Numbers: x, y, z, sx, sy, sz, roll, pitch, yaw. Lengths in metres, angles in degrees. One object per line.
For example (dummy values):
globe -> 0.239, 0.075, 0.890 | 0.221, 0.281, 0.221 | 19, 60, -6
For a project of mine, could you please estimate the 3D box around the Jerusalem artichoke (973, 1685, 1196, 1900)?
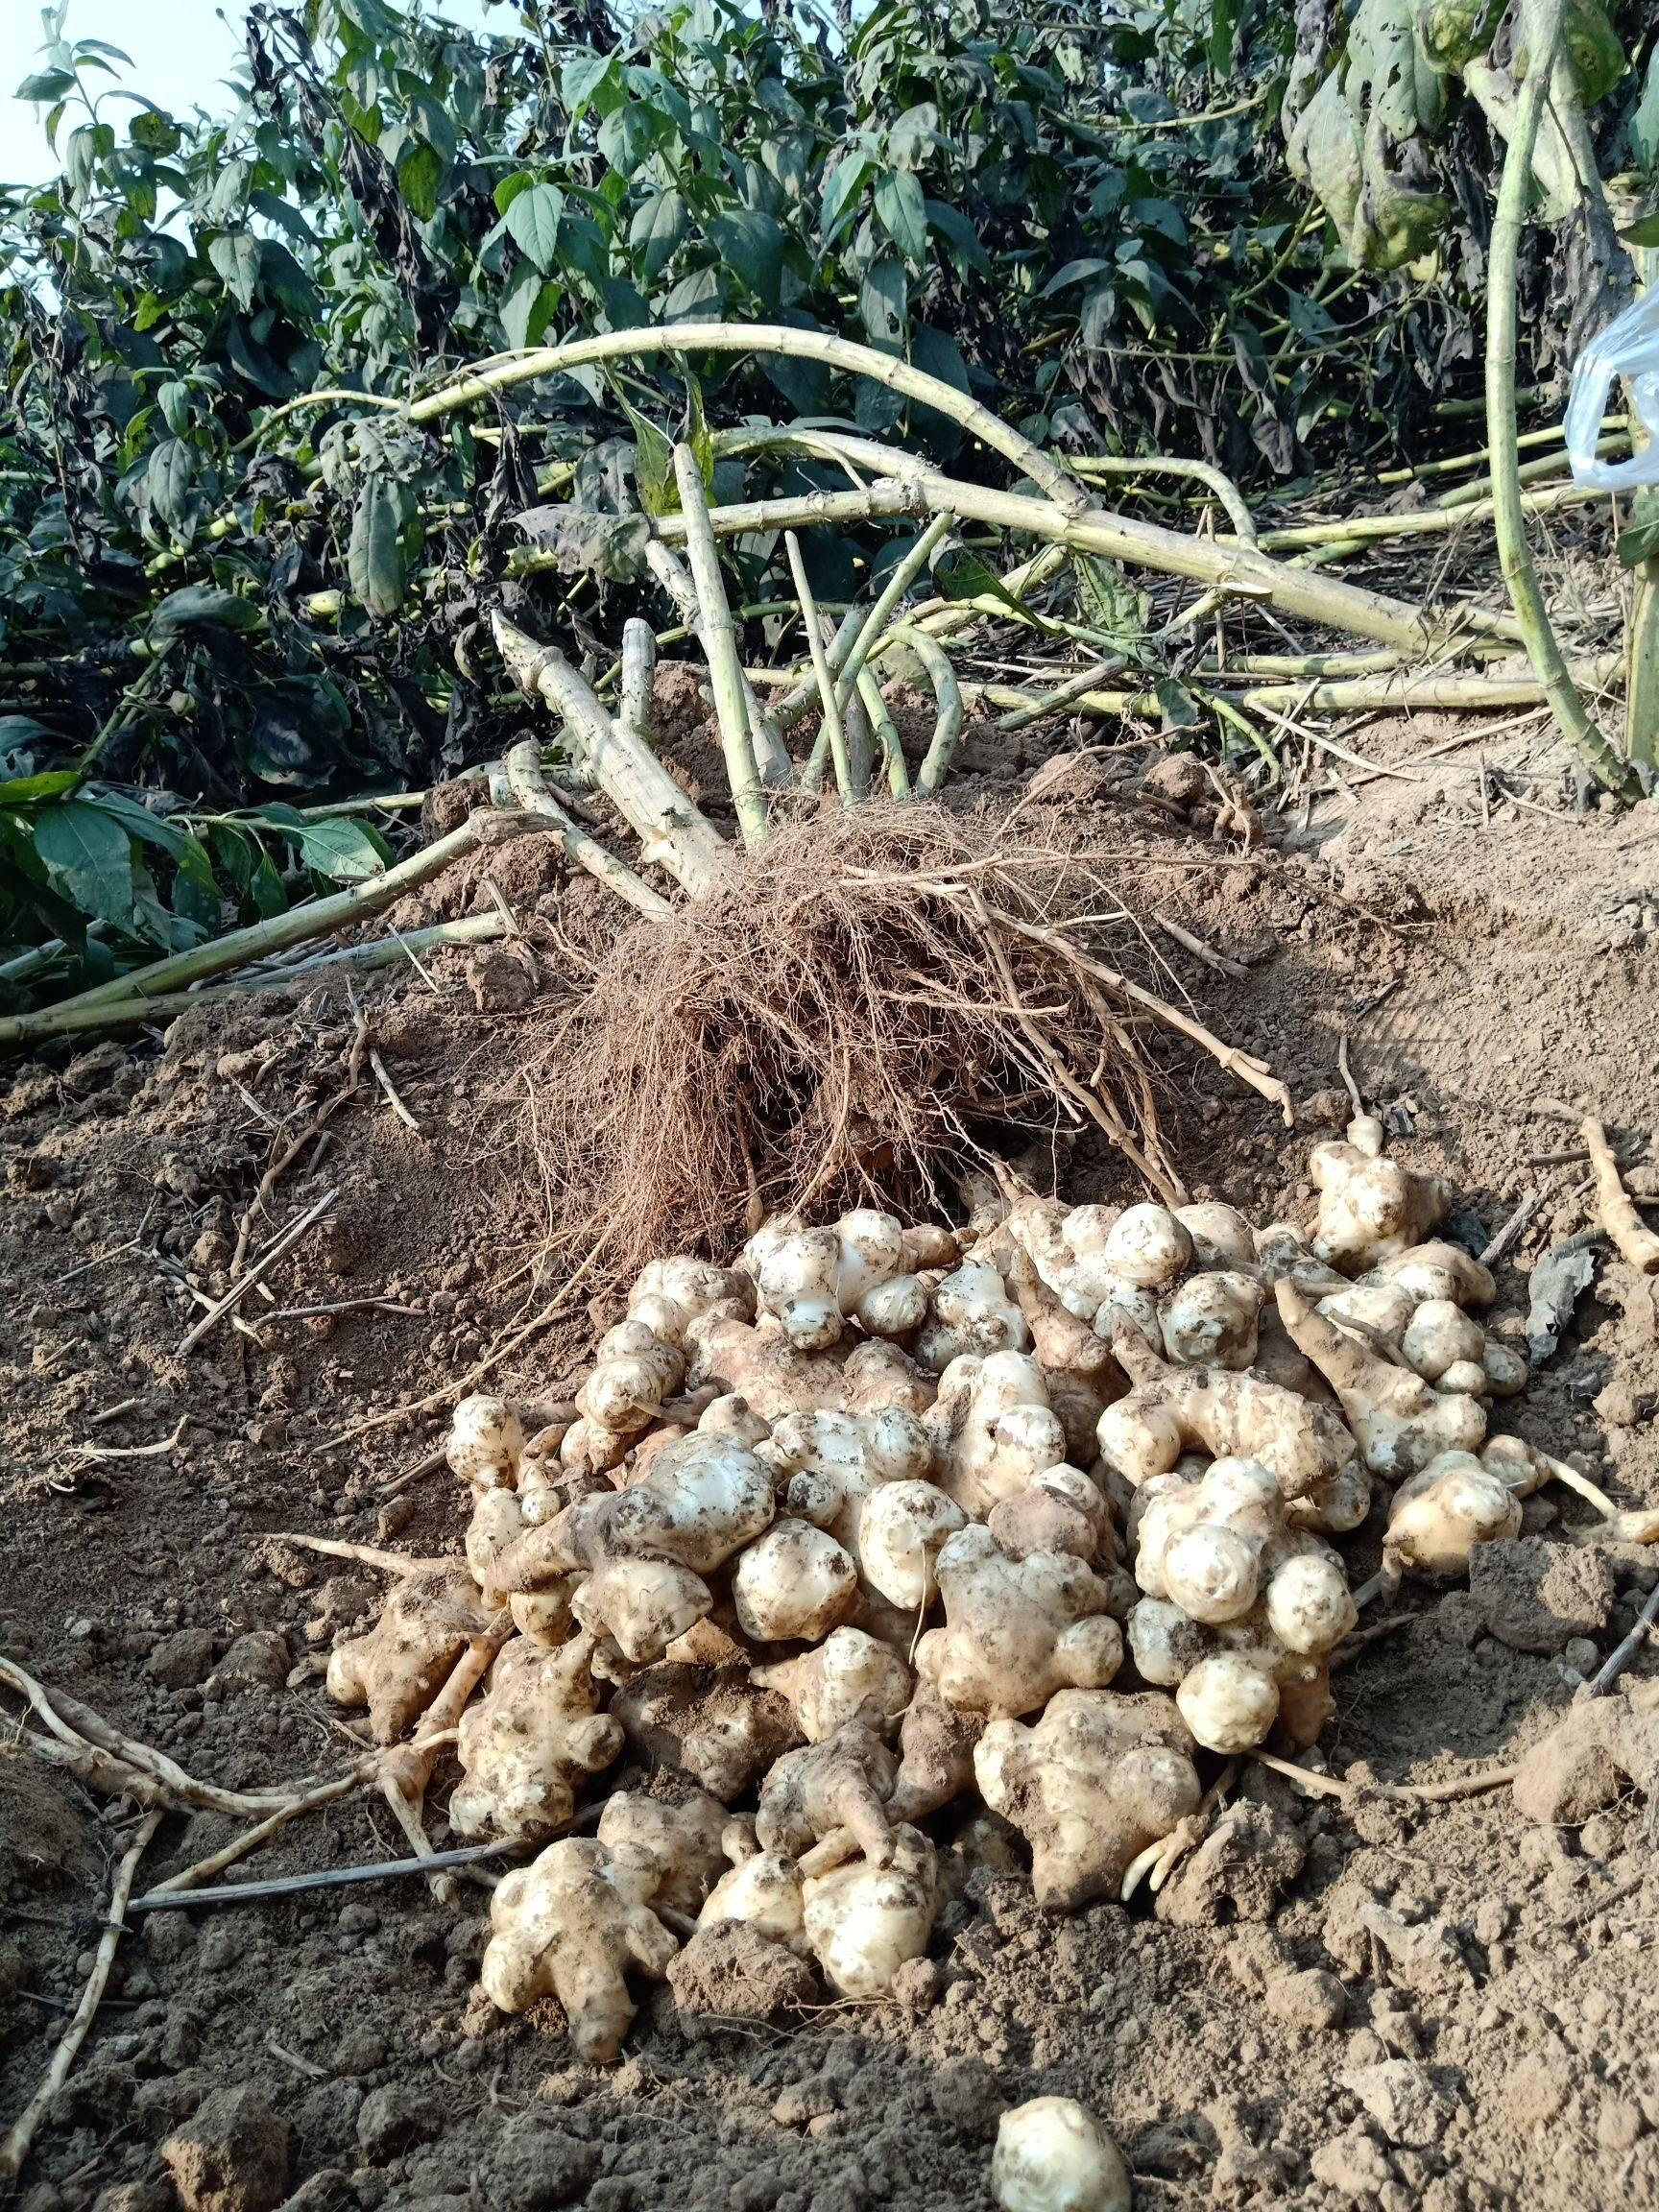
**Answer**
Jerusalem artichoke -> 0.254, 0.670, 1.956 | 0.186, 0.073, 0.187 | 19, 61, 28

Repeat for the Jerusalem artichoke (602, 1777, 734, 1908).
Jerusalem artichoke -> -0.179, 0.792, 2.131 | 0.105, 0.119, 0.065 | -41, -14, -36

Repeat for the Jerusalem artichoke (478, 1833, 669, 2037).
Jerusalem artichoke -> -0.256, 0.837, 1.980 | 0.199, 0.081, 0.223 | 4, 43, 0

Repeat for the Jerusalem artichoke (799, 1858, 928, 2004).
Jerusalem artichoke -> 0.027, 0.788, 1.905 | 0.120, 0.117, 0.082 | -9, -16, 35

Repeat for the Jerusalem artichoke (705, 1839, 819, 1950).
Jerusalem artichoke -> -0.065, 0.787, 1.972 | 0.089, 0.078, 0.059 | -59, -12, -15
